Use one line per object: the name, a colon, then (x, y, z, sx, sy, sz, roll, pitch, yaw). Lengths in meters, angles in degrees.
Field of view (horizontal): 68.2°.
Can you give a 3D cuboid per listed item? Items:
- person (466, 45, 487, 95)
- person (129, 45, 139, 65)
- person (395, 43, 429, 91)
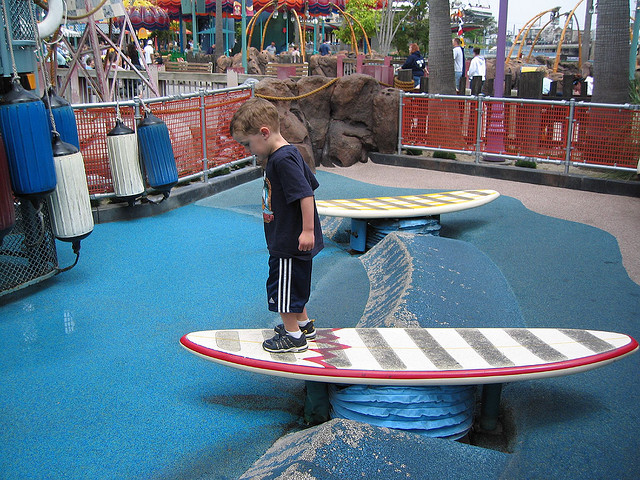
person: (4.733, -5.041, 14.441, 0.522, 1.634, 0.521, 29, 53, 36)
person: (-8.792, -8.775, 22.305, 0.353, 0.874, 0.995, -6, 15, -17)
person: (2.835, -5.007, 14.562, 0.800, 1.884, 0.754, -5, 14, -26)
